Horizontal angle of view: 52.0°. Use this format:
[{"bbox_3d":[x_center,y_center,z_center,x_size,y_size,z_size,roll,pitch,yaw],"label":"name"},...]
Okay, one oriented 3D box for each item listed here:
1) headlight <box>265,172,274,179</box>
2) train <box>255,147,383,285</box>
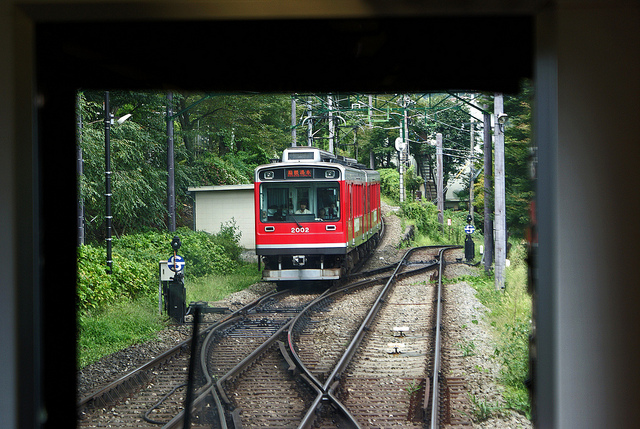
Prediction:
[{"bbox_3d":[-1.291,-0.985,16.544,0.235,0.232,0.128,2,10,8],"label":"headlight"},{"bbox_3d":[0.170,0.122,19.098,2.126,3.850,5.928,-1,2,16],"label":"train"}]
